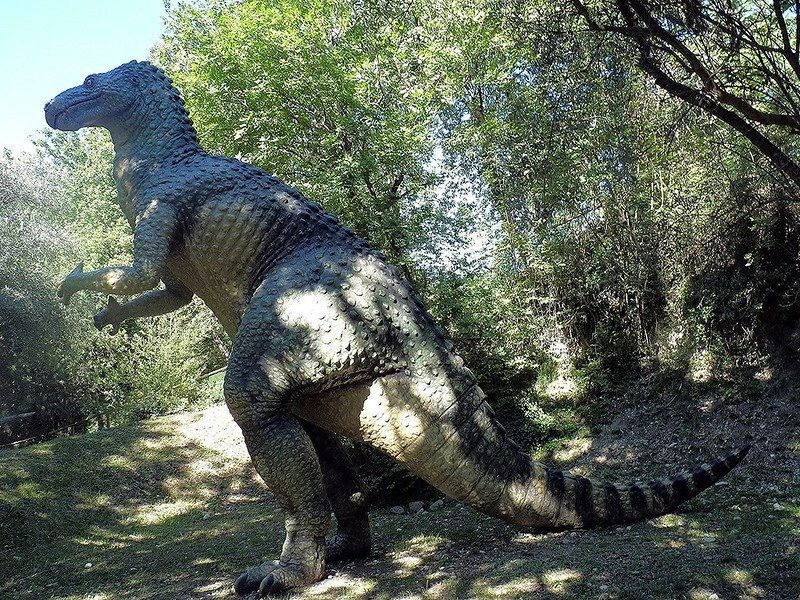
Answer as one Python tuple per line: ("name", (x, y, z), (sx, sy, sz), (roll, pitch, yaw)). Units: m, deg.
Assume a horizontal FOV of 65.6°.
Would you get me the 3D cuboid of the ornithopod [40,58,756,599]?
("ornithopod", (-0.905, -0.016, 6.276), (5.265, 5.285, 1.882), (-9, 1, 17))
